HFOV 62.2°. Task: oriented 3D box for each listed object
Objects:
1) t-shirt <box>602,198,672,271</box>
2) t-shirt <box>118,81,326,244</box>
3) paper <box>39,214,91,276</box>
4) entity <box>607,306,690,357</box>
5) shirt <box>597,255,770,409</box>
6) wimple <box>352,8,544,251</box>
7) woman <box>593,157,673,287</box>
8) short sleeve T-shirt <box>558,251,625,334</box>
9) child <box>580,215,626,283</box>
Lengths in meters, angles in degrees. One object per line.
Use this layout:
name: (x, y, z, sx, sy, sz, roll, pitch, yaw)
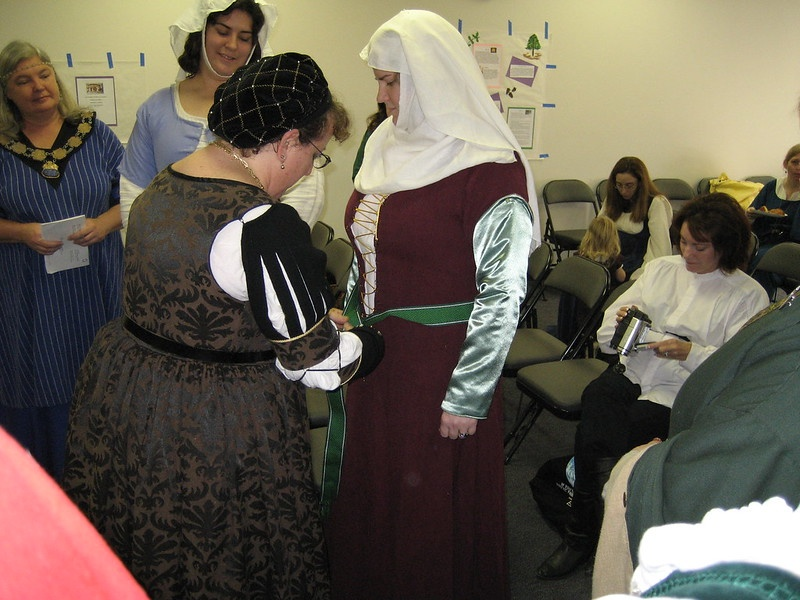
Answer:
t-shirt: (1.530, -0.452, 4.272, 0.265, 0.513, 0.503, -22, 23, -26)
t-shirt: (-0.635, -0.377, 2.166, 0.551, 0.583, 0.312, 5, 16, -19)
paper: (-1.129, -0.188, 2.210, 0.158, 0.202, 0.025, -20, 37, -39)
entity: (0.871, 0.142, 2.370, 0.264, 0.138, 0.164, 26, 61, 0)
shirt: (0.911, 0.106, 2.156, 0.237, 0.402, 0.391, 19, 13, -36)
wimple: (0.105, -0.427, 1.864, 0.460, 0.758, 0.698, -8, 18, -20)
woman: (1.490, -0.361, 4.374, 0.498, 1.141, 0.414, 11, 32, 36)
short sleeve T-shirt: (0.913, -0.026, 3.181, 0.208, 0.377, 0.264, 23, 50, 31)
child: (1.186, -0.301, 3.849, 0.224, 0.415, 0.266, -29, 37, -27)
